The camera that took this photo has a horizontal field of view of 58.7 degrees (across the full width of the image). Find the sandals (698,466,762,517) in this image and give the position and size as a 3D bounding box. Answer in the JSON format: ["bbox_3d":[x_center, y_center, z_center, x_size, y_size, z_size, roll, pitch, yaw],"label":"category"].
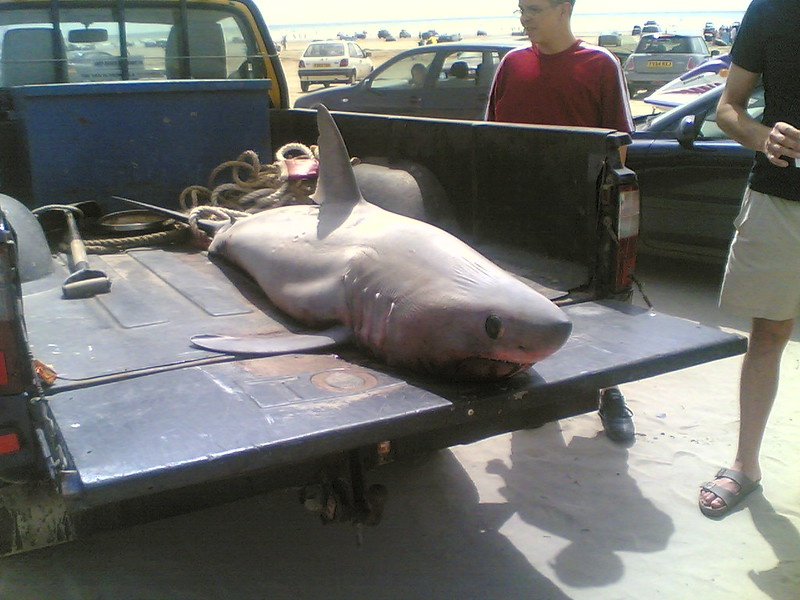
[{"bbox_3d":[1.453,0.835,3.136,0.417,0.097,0.130,-14,27,-25],"label":"sandals"}]

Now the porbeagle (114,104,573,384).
[{"bbox_3d":[-0.170,-0.233,2.617,0.890,0.883,1.333,-8,21,-21],"label":"porbeagle"}]
